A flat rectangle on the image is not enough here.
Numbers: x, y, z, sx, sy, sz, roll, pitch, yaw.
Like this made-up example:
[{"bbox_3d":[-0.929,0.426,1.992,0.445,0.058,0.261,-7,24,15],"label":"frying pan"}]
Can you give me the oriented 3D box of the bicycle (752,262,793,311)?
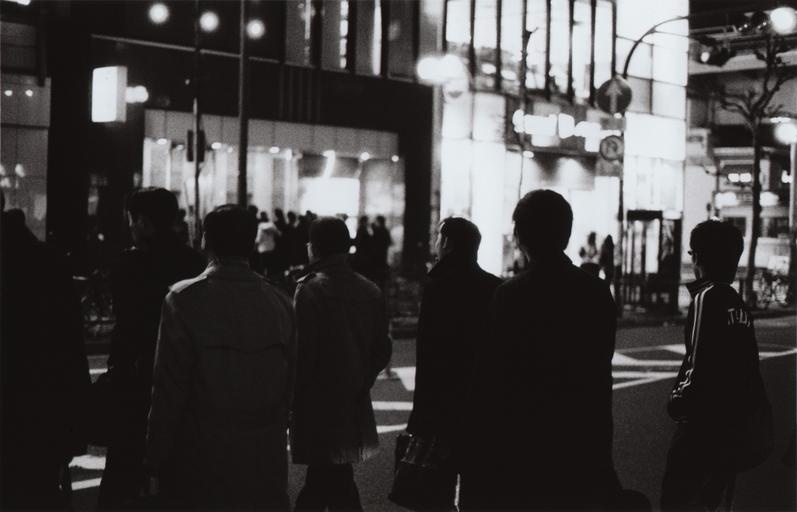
[{"bbox_3d":[11.621,1.026,34.652,1.592,0.975,0.782,-3,4,-16],"label":"bicycle"}]
